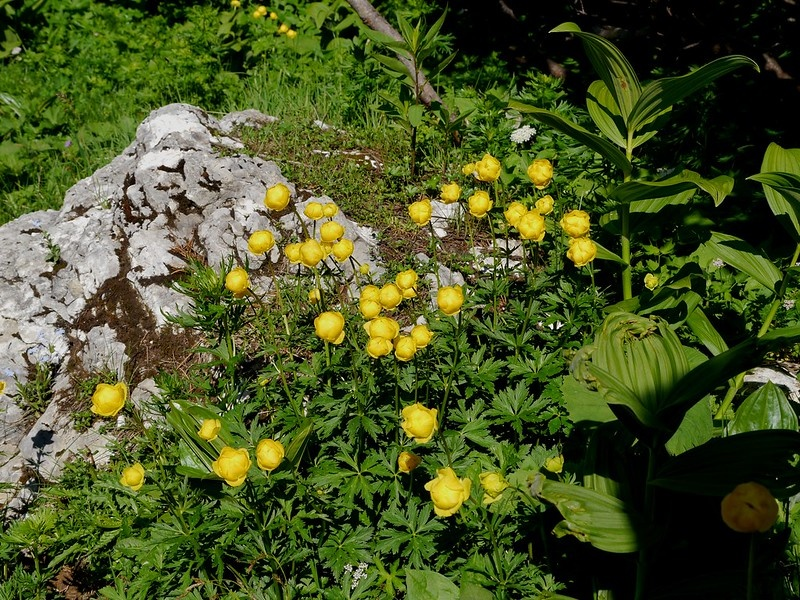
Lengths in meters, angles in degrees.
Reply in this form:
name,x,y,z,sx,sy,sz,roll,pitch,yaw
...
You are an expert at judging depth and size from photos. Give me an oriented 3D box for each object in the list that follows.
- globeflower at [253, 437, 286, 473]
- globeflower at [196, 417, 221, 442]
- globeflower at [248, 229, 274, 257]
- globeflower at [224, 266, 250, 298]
name,x,y,z,sx,sy,sz,roll,pitch,yaw
globeflower,-0.622,0.754,4.034,0.146,0.147,0.088,33,-9,-6
globeflower,-0.945,0.640,4.121,0.070,0.111,0.114,28,-9,-10
globeflower,-0.771,-0.306,4.624,0.129,0.147,0.101,24,-27,42
globeflower,-0.826,-0.086,4.276,0.099,0.143,0.142,-3,-18,36
